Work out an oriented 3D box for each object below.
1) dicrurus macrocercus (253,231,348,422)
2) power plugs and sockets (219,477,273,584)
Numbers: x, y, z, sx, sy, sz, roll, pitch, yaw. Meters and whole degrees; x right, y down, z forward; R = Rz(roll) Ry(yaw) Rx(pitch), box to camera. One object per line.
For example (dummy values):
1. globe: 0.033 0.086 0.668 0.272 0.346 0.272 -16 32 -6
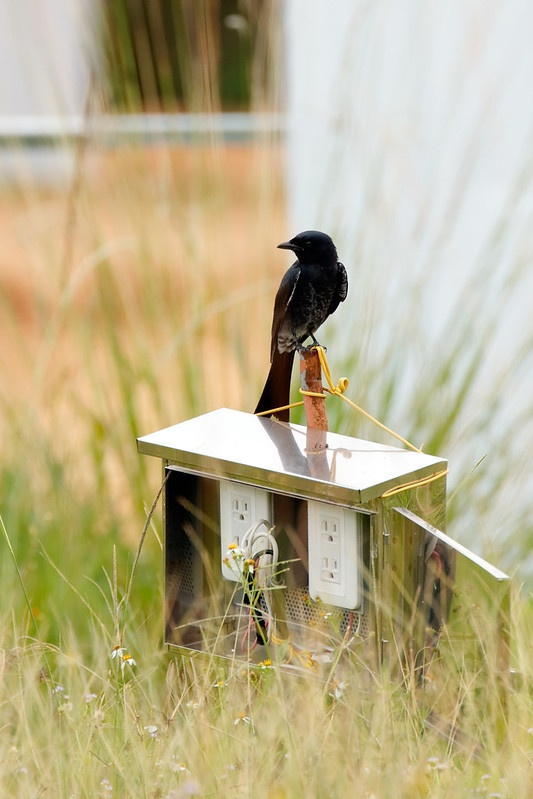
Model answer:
1. dicrurus macrocercus: 0.060 -0.173 1.882 0.094 0.319 0.244 23 39 37
2. power plugs and sockets: -0.047 0.235 1.677 0.060 0.023 0.202 9 43 -9
